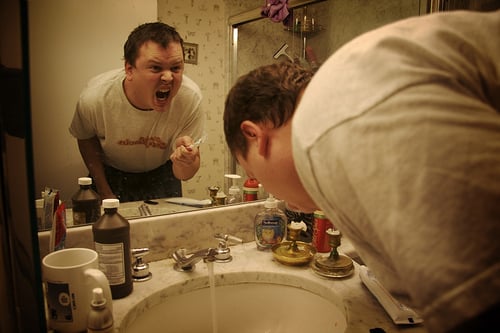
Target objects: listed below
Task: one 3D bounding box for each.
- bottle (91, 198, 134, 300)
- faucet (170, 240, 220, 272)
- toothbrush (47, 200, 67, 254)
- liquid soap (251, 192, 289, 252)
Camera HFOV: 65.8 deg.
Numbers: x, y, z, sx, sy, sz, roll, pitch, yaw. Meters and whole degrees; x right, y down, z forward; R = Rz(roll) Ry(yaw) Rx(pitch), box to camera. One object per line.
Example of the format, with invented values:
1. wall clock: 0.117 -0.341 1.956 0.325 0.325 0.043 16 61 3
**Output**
1. bottle: -0.361 0.225 1.023 0.107 0.262 0.151 -2 10 -18
2. faucet: -0.168 0.269 1.232 0.159 0.100 0.064 15 14 42
3. toothbrush: -0.522 0.171 1.056 0.030 0.144 0.157 -3 15 -16
4. liquid soap: 0.075 0.186 1.400 0.090 0.204 0.089 -10 17 -39
